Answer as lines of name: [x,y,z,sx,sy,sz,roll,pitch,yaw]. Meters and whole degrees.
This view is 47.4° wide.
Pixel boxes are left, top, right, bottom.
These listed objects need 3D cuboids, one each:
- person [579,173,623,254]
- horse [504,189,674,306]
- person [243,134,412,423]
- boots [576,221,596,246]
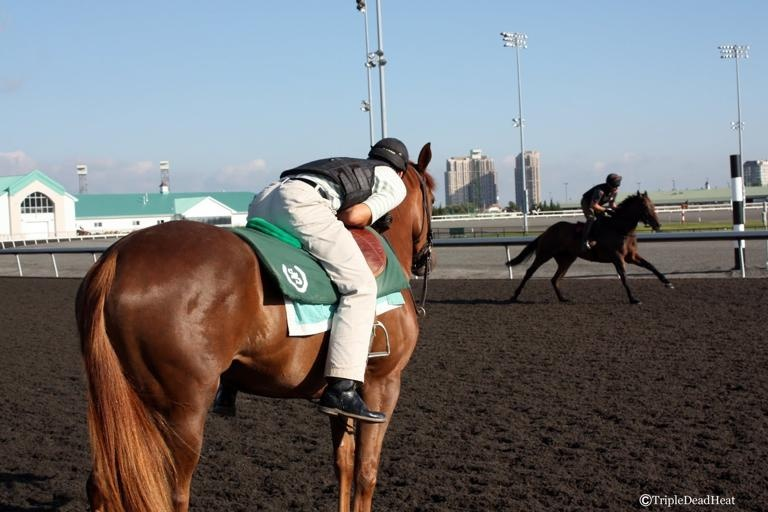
person: [3.571,-0.738,14.458,0.452,1.293,0.717,-1,18,-33]
horse: [3.313,-0.101,14.695,2.991,1.821,0.671,-3,-10,45]
person: [-0.483,0.020,7.125,1.227,2.396,1.192,3,-7,10]
boots: [3.269,-0.348,14.243,0.226,0.438,0.310,-4,5,-31]
